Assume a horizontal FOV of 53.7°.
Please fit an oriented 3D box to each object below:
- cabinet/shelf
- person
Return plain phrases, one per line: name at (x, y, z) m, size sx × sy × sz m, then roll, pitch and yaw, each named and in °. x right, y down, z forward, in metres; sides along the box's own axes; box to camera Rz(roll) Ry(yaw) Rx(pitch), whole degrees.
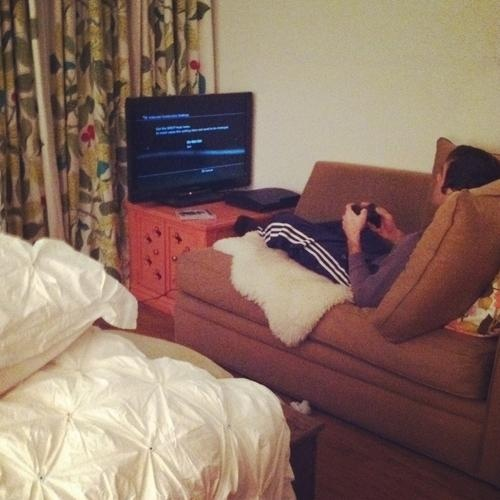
cabinet/shelf at (-0.382, -0.046, 2.810) m, size 0.485 × 0.473 × 0.411 m, roll 19°, pitch 31°, yaw 31°
person at (0.439, -0.185, 2.008) m, size 0.929 × 0.605 × 0.424 m, roll 14°, pitch 7°, yaw 24°
